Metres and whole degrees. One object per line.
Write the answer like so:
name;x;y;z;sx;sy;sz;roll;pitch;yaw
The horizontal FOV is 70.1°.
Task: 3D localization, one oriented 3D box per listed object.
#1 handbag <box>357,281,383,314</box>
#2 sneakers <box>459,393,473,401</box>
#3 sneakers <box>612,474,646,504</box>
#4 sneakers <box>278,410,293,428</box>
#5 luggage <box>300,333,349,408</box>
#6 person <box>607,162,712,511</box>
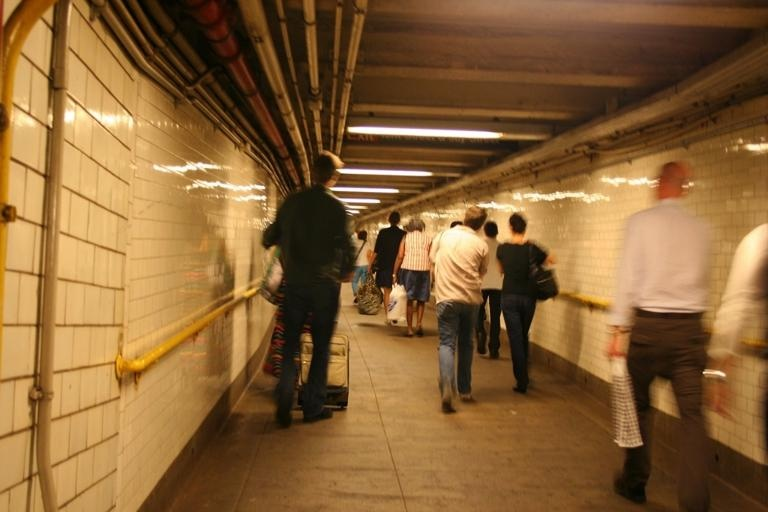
handbag;-0.349;0.873;13.266;0.589;0.843;0.532;0;7;18
sneakers;0.931;1.574;6.149;0.111;0.084;0.087;1;4;-7
sneakers;1.834;1.727;4.053;0.160;0.090;0.227;16;-12;5
sneakers;-0.938;1.539;5.203;0.167;0.181;0.159;2;-4;-2
luggage;-0.647;1.312;5.889;0.648;0.540;0.980;3;39;-7
person;1.942;0.590;3.785;0.678;2.509;0.504;4;5;35
